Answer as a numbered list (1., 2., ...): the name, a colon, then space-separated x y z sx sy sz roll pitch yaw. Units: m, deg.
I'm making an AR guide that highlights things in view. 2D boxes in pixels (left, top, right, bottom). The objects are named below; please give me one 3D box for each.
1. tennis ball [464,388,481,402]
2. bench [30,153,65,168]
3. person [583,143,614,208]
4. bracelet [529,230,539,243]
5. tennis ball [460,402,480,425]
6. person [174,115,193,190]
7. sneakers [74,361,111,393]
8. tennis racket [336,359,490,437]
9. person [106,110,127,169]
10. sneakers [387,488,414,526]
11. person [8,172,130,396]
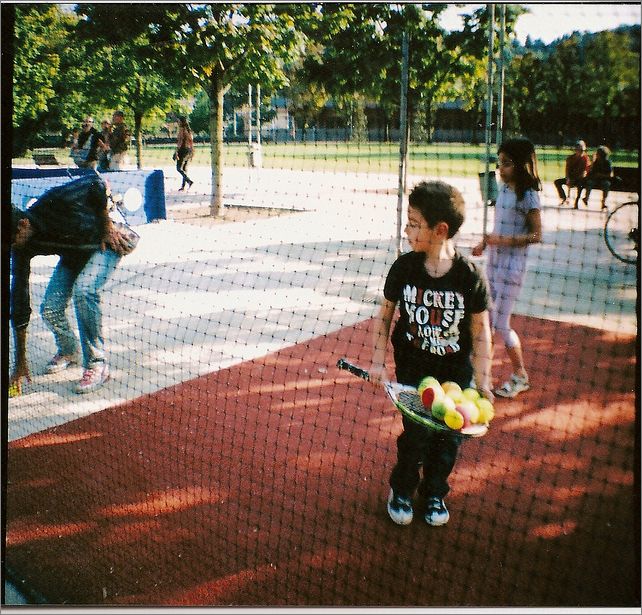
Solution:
1. tennis ball: 0.831 0.475 3.592 0.057 0.064 0.076 -3 16 -37
2. bench: -7.229 -3.890 17.100 0.620 0.323 0.703 -9 15 -21
3. person: 5.367 -2.485 12.578 0.456 1.243 1.289 3 15 24
4. bracelet: 1.642 -0.537 5.004 0.069 0.073 0.018 -16 8 2
5. tennis ball: 0.781 0.549 3.435 0.087 0.067 0.117 6 11 4
6. person: -3.234 -3.713 15.404 0.449 1.491 1.321 -6 14 -14
7. sneakers: -1.929 0.611 5.518 0.119 0.271 0.380 -3 4 29
8. tennis racket: 0.503 0.538 3.512 0.366 0.088 0.940 17 9 -32
9. person: -3.672 -3.018 11.744 0.342 0.319 1.114 6 -28 -17
10. sneakers: 0.477 1.201 3.927 0.091 0.103 0.228 0 15 -10
11. person: -2.092 -0.170 5.419 1.059 1.775 0.790 -5 13 -9
